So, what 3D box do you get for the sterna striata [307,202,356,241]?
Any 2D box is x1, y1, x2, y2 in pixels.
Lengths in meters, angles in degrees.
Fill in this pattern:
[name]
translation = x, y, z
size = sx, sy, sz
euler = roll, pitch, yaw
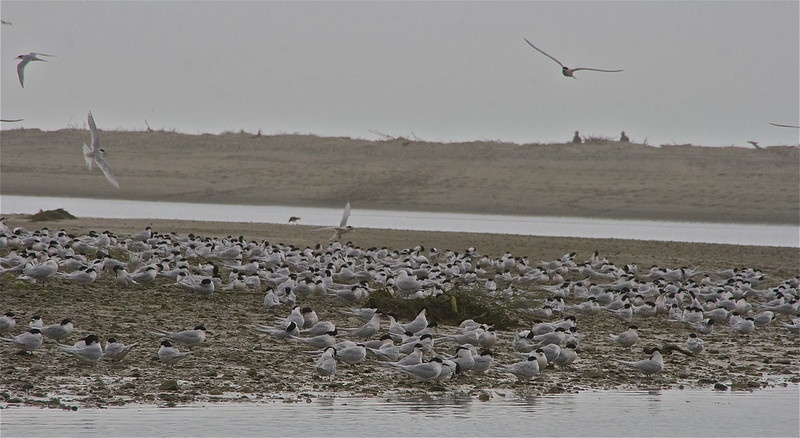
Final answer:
[sterna striata]
translation = -2.903, 0.386, 70.646
size = 1.477, 0.549, 2.201
euler = 9, 28, -1
